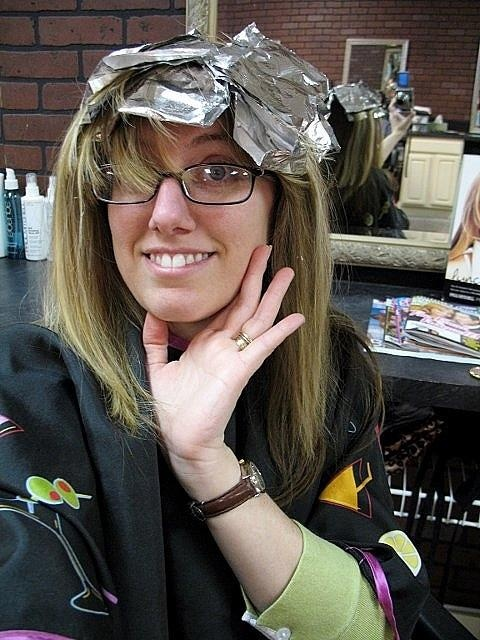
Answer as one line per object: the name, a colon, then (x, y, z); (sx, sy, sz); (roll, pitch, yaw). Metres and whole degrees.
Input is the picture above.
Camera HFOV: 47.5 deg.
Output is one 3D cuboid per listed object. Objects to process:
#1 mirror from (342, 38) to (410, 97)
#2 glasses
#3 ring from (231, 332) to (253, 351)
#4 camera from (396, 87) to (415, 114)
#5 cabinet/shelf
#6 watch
mirror: (0.357, -0.667, 1.423); (0.159, 0.146, 0.009); (4, 20, 7)
glasses: (-0.074, -0.169, 0.676); (0.209, 0.055, 0.084); (-2, 17, -14)
ring: (0.001, 0.030, 0.750); (0.022, 0.021, 0.018); (-23, -7, -13)
camera: (0.427, -0.586, 1.439); (0.052, 0.065, 0.055); (2, 23, 14)
cabinet/shelf: (0.524, -0.388, 1.532); (0.167, 0.200, 0.126); (4, 4, 0)
watch: (-0.006, 0.199, 0.715); (0.094, 0.058, 0.092); (-28, -16, -2)
